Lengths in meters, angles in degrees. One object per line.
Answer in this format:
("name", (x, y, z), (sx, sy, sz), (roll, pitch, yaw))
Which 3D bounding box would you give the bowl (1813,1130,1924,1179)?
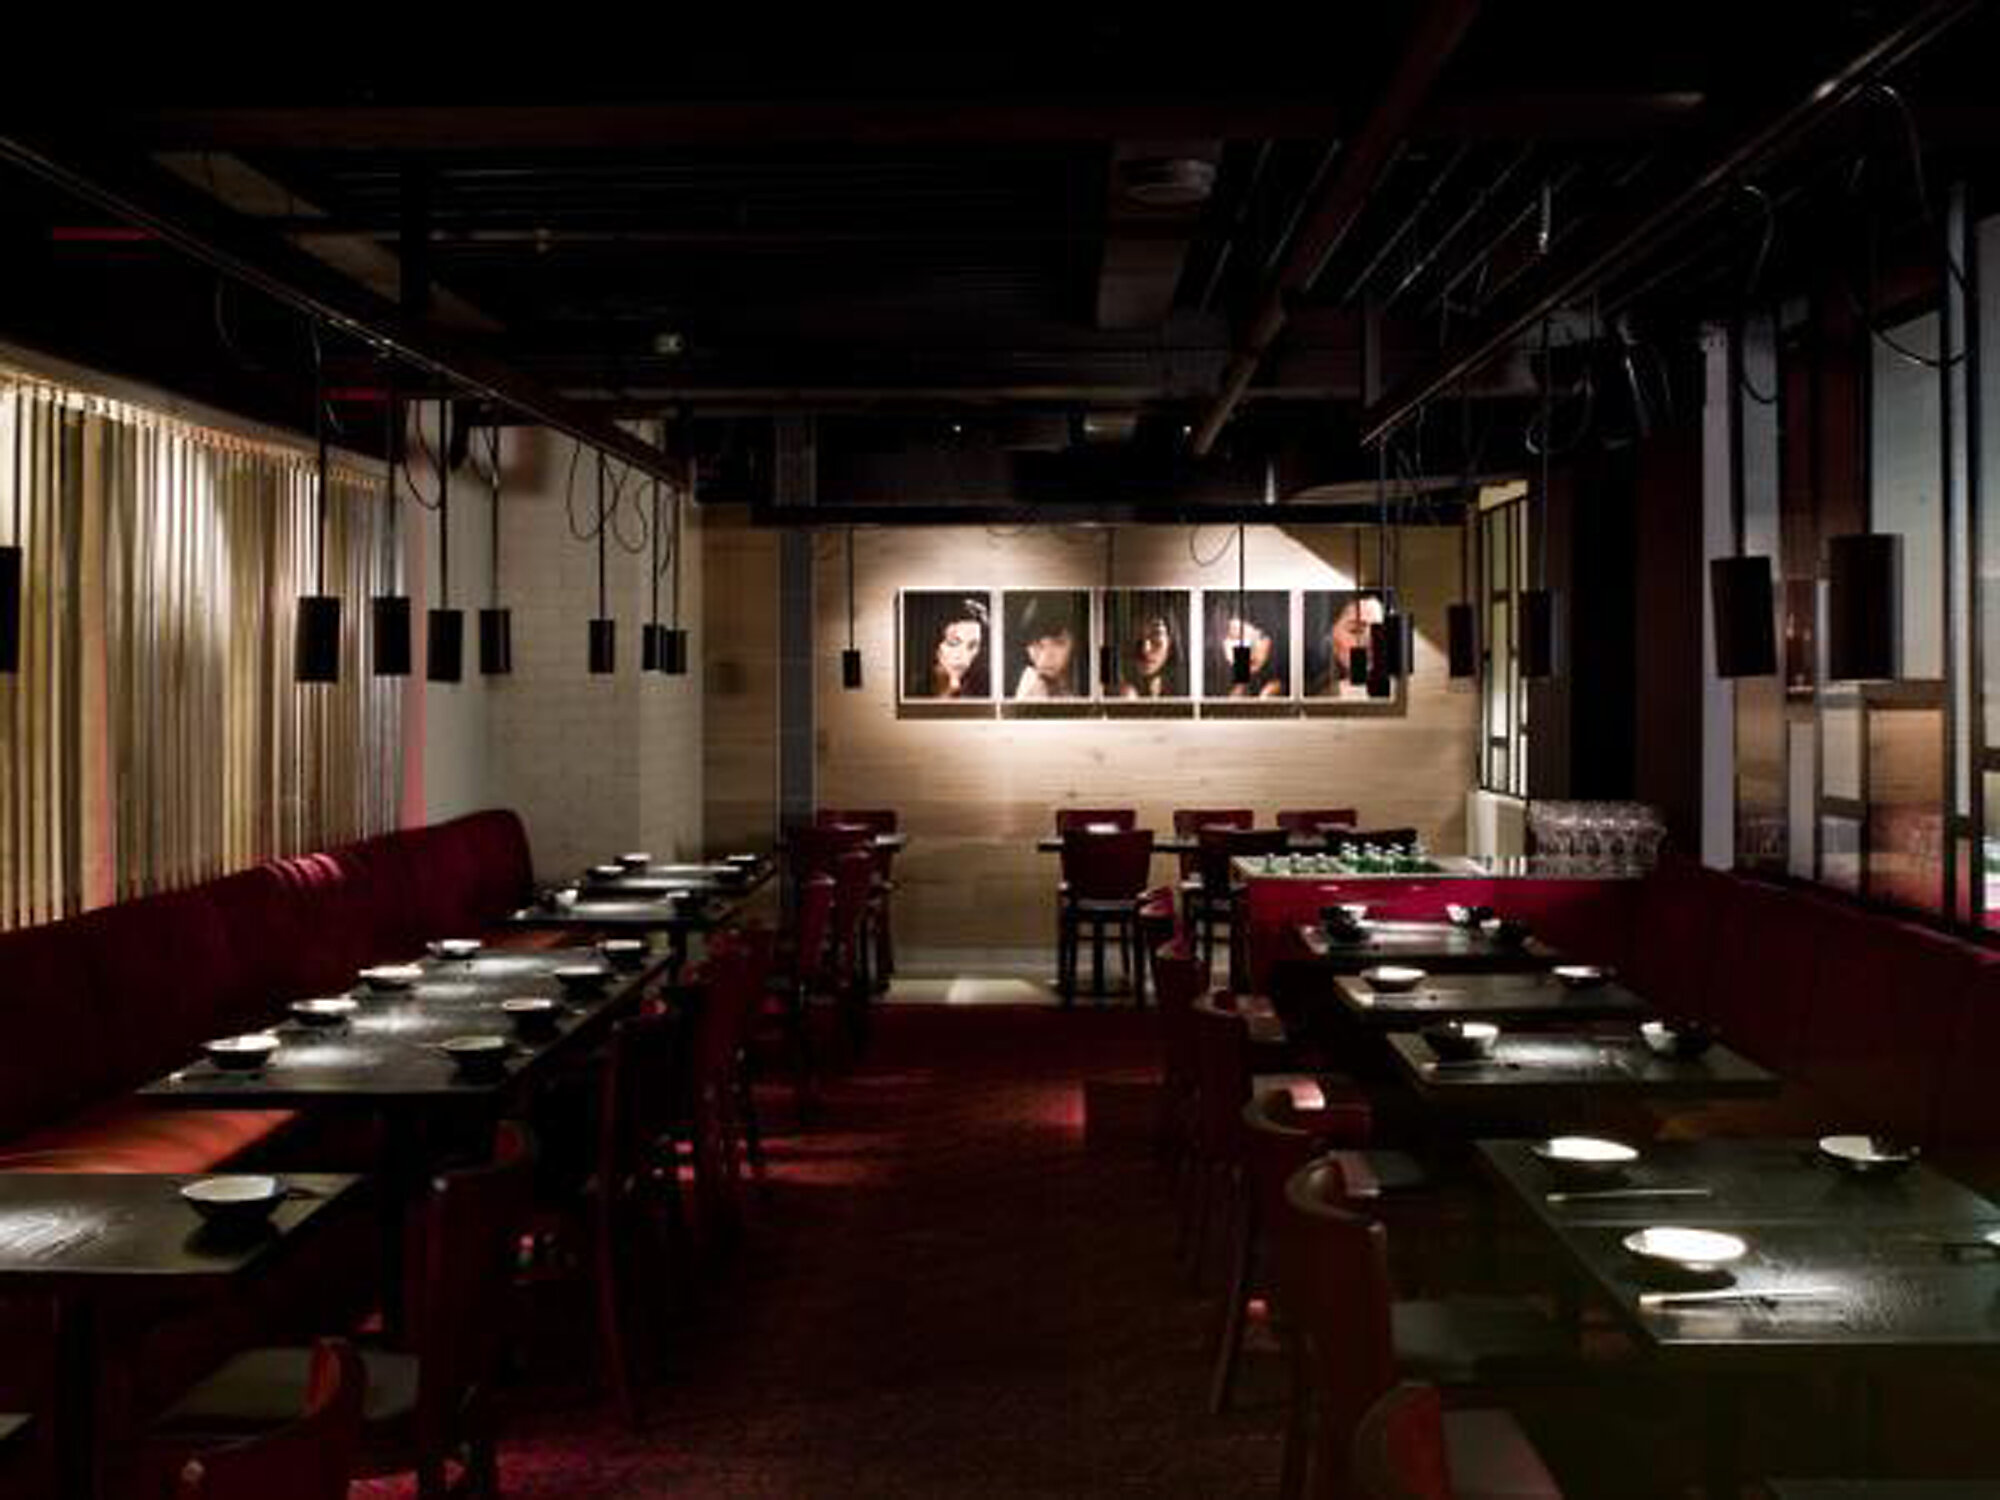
("bowl", (2.152, 0.998, 3.944), (0.197, 0.065, 0.214), (0, 4, 0))

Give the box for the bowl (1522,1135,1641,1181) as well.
("bowl", (1.465, 0.996, 3.971), (0.251, 0.057, 0.357), (2, 5, 25))
